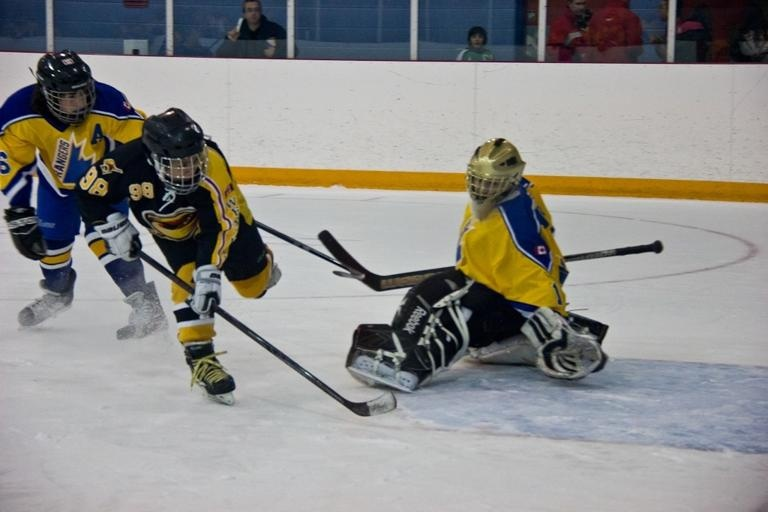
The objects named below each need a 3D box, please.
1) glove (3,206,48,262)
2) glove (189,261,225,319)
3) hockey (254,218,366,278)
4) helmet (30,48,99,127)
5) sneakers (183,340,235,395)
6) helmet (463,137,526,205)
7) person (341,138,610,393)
[{"bbox_3d":[-2.038,-0.121,4.666,0.213,0.286,0.135,-16,8,-5],"label":"glove"},{"bbox_3d":[-0.847,0.164,3.866,0.170,0.221,0.105,11,-17,-17],"label":"glove"},{"bbox_3d":[-0.432,-0.041,4.962,0.885,0.065,0.302,26,-31,-34],"label":"hockey"},{"bbox_3d":[-1.744,-0.914,4.438,0.306,0.400,0.215,-1,11,-17],"label":"helmet"},{"bbox_3d":[-0.820,0.540,3.897,0.174,0.147,0.335,-19,14,-31],"label":"sneakers"},{"bbox_3d":[0.552,-0.439,4.085,0.306,0.306,0.360,15,30,40],"label":"helmet"},{"bbox_3d":[0.475,0.050,4.002,1.243,1.203,0.439,3,11,4],"label":"person"}]
